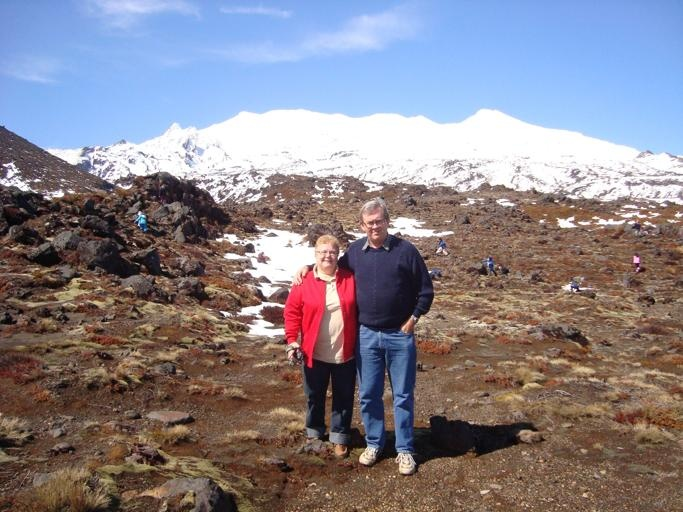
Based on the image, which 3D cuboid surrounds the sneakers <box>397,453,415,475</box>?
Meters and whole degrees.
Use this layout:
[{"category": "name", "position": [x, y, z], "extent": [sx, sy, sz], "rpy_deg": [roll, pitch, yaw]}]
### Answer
[{"category": "sneakers", "position": [1.079, 3.283, 7.879], "extent": [0.333, 0.313, 0.300], "rpy_deg": [-1, 4, -2]}]

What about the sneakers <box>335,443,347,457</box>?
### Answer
[{"category": "sneakers", "position": [0.007, 3.226, 8.207], "extent": [0.223, 0.114, 0.199], "rpy_deg": [-1, 2, -2]}]
